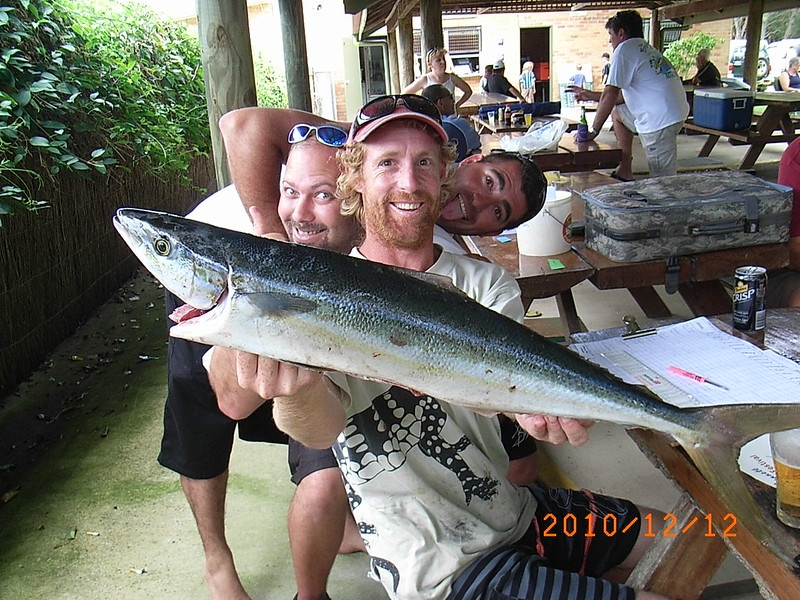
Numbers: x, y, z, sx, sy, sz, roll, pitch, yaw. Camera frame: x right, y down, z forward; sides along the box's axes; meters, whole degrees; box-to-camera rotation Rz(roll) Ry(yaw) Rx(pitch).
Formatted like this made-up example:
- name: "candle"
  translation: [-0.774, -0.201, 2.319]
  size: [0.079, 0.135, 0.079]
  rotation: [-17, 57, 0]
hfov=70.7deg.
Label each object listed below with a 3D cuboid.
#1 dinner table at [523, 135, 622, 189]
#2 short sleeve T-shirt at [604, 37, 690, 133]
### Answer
- name: "dinner table"
  translation: [1.851, -1.578, 6.643]
  size: [0.937, 0.412, 0.547]
  rotation: [4, 29, -15]
- name: "short sleeve T-shirt"
  translation: [3.328, -2.821, 7.479]
  size: [0.740, 1.207, 1.299]
  rotation: [-2, 15, 45]
